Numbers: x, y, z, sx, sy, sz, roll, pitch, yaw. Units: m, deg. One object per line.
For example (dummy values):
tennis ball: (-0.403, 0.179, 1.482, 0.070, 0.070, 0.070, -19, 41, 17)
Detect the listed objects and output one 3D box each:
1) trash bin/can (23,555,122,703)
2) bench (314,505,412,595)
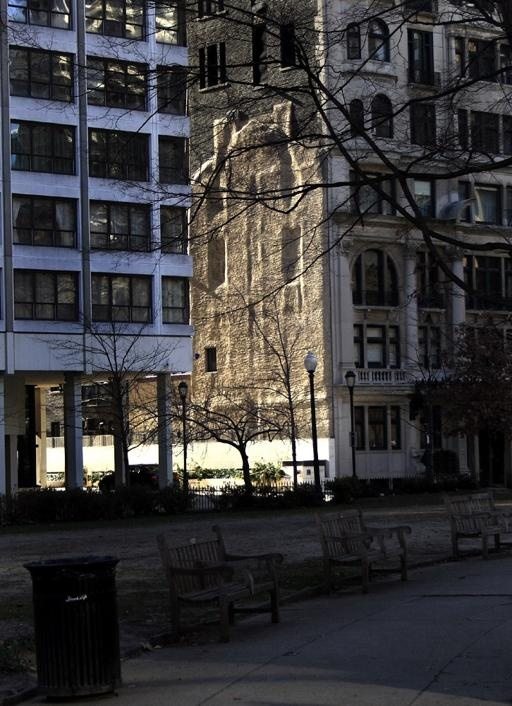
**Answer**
trash bin/can: (-1.644, 2.357, 13.059, 1.015, 1.377, 0.994, -2, -5, -11)
bench: (1.381, 2.441, 18.634, 0.676, 1.024, 1.714, -5, -5, 22)
